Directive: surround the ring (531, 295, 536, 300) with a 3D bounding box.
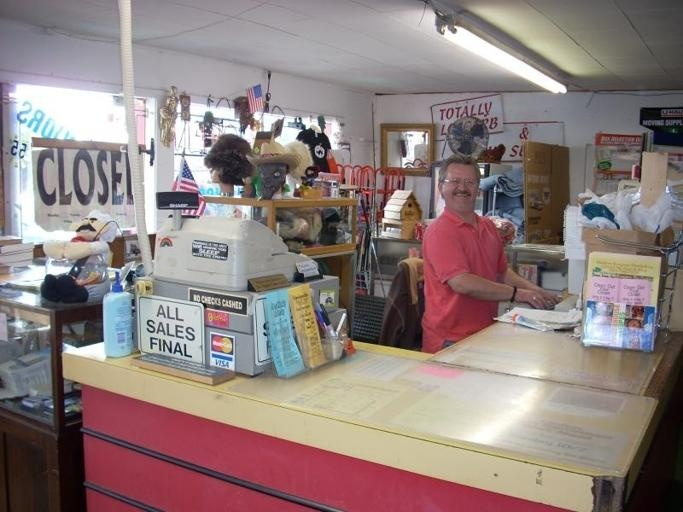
[{"bbox_3d":[1.044,0.228,2.858,0.024,0.016,0.012,3,13,14],"label":"ring"}]

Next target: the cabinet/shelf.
[{"bbox_3d":[-0.485,0.054,4.501,0.914,1.210,1.248,2,5,33],"label":"cabinet/shelf"}]

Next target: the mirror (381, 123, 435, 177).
[{"bbox_3d":[1.221,-1.916,9.382,1.200,1.137,0.094,7,13,30],"label":"mirror"}]

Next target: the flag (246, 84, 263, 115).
[{"bbox_3d":[-0.896,-1.646,5.499,0.151,0.289,0.572,-2,13,-10],"label":"flag"}]

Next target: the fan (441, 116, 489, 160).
[{"bbox_3d":[1.890,-1.779,7.767,0.464,0.560,0.812,-5,13,-20],"label":"fan"}]

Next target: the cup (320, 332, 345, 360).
[{"bbox_3d":[-0.032,0.349,2.051,0.088,0.112,0.095,0,-2,0],"label":"cup"}]

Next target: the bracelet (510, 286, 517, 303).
[{"bbox_3d":[0.943,0.212,2.878,0.051,0.070,0.030,13,10,32],"label":"bracelet"}]

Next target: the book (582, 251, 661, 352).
[{"bbox_3d":[1.115,0.177,2.082,0.329,0.453,0.184,6,11,23],"label":"book"}]

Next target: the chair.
[{"bbox_3d":[0.415,0.308,3.271,0.218,0.540,0.415,9,16,36],"label":"chair"}]

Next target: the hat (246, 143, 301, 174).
[{"bbox_3d":[-0.484,-0.726,3.884,0.355,0.234,0.377,-1,13,-5],"label":"hat"}]
